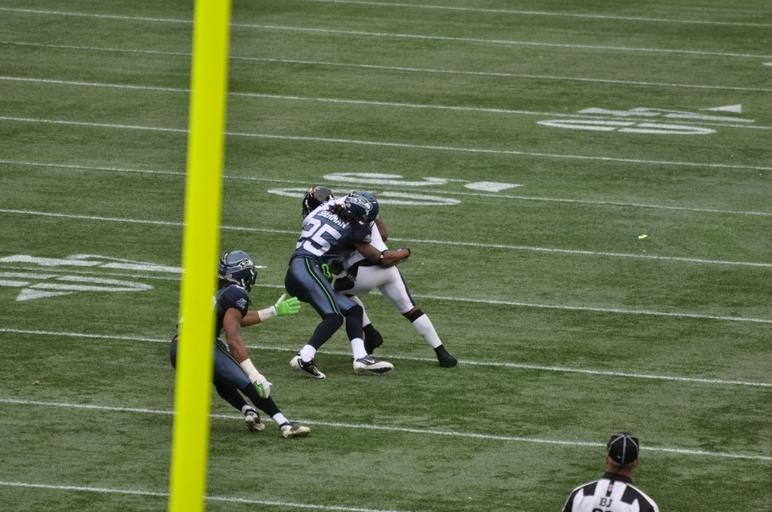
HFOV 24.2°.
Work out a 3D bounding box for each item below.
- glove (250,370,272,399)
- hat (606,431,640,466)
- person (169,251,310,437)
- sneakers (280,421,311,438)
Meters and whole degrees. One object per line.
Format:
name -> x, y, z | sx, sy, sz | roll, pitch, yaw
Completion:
glove -> -1.403, 1.373, 19.406 | 0.140, 0.265, 0.190 | -30, 12, 18
hat -> 2.402, 1.929, 18.142 | 0.305, 0.308, 0.215 | 0, -5, 9
person -> -1.629, 0.950, 19.619 | 0.984, 2.035, 1.369 | -6, -5, 33
sneakers -> -1.075, 1.872, 19.550 | 0.411, 0.150, 0.131 | -3, -5, -1
